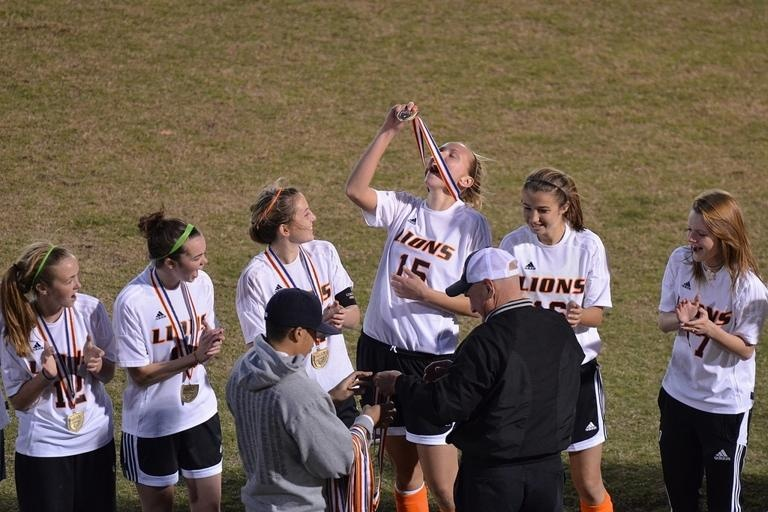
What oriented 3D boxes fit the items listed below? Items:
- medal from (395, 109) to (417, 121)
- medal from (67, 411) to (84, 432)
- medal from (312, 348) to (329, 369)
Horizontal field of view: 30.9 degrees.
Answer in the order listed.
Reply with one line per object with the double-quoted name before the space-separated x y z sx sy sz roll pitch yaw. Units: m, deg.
"medal" 0.400 -2.289 23.647 0.338 0.186 0.154 -1 5 -15
"medal" -5.108 2.687 22.928 0.329 0.378 0.073 -5 -2 -33
"medal" -1.064 1.691 23.209 0.385 0.373 0.071 -6 2 -19
